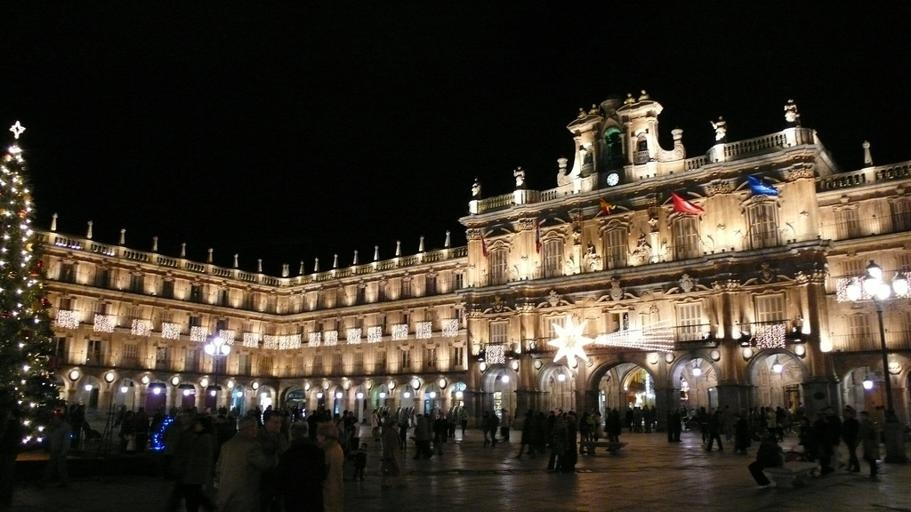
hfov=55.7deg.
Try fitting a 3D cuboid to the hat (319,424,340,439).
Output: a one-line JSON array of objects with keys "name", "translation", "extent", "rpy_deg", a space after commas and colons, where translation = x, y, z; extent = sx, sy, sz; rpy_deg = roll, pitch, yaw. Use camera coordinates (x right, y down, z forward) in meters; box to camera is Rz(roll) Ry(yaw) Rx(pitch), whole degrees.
[{"name": "hat", "translation": [-5.311, 7.222, 35.381], "extent": [0.726, 0.620, 0.321], "rpy_deg": [0, -20, -9]}]

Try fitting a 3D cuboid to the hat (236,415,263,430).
[{"name": "hat", "translation": [-8.535, 6.943, 35.405], "extent": [0.807, 0.627, 0.588], "rpy_deg": [-9, 3, -25]}]

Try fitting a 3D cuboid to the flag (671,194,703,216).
[{"name": "flag", "translation": [17.094, -3.933, 63.645], "extent": [2.120, 2.054, 2.106], "rpy_deg": [-7, -19, 11]}]

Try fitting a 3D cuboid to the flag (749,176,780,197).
[{"name": "flag", "translation": [21.882, -5.092, 61.377], "extent": [1.705, 1.808, 1.916], "rpy_deg": [-12, -20, 23]}]

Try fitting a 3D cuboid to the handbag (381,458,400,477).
[{"name": "handbag", "translation": [-3.222, 10.361, 42.100], "extent": [1.053, 0.795, 0.921], "rpy_deg": [0, -8, -2]}]

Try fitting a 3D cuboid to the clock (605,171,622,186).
[{"name": "clock", "translation": [12.345, -5.991, 67.811], "extent": [1.131, 0.945, 0.254], "rpy_deg": [7, -5, 35]}]
